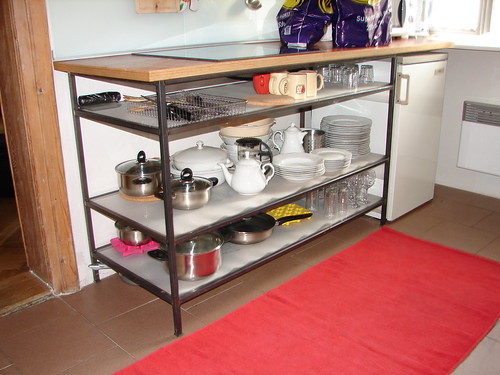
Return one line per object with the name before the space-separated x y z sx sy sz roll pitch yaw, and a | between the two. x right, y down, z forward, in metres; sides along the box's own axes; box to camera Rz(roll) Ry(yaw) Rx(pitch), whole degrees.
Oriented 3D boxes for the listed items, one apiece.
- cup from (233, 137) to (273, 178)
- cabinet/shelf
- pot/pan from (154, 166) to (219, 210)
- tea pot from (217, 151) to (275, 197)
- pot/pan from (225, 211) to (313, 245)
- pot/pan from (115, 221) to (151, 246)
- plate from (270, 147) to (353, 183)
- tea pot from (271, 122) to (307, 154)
cup | 0.013 -0.217 2.238 0.335 0.251 0.178 -5 21 -14
cabinet/shelf | 0.354 -0.323 2.570 2.955 1.393 0.937 -19 31 -35
pot/pan | -0.351 -0.009 1.941 0.254 0.172 0.351 20 30 37
tea pot | -0.018 -0.082 2.117 0.390 0.214 0.206 3 27 -1
pot/pan | 0.085 0.255 2.312 0.425 0.082 0.211 -9 15 -27
pot/pan | -0.711 0.263 2.111 0.221 0.076 0.191 16 28 22
plate | 0.425 -0.171 2.401 0.302 0.061 0.398 17 25 38
tea pot | 0.295 -0.368 2.602 0.338 0.263 0.200 3 24 7
